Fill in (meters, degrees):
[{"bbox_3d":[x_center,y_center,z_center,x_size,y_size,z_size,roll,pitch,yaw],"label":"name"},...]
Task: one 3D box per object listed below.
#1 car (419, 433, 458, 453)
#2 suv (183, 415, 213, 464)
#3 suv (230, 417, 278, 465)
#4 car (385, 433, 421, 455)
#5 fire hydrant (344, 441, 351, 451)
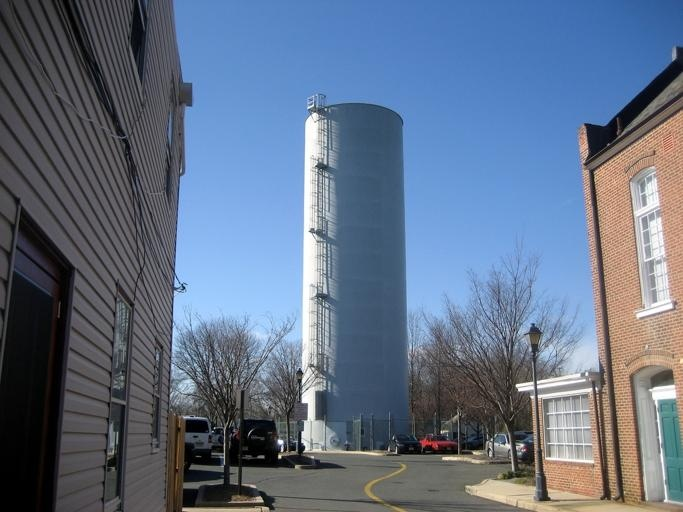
[{"bbox_3d":[6.473,12.822,40.745,1.202,0.991,2.709,4,-22,-15],"label":"car"},{"bbox_3d":[-6.212,7.866,25.896,1.064,1.625,2.399,1,-21,-10],"label":"suv"},{"bbox_3d":[-3.896,8.694,26.932,1.913,2.087,3.729,2,-13,-10],"label":"suv"},{"bbox_3d":[4.100,12.129,38.351,1.981,1.331,2.174,4,-22,-18],"label":"car"},{"bbox_3d":[0.420,13.481,42.069,0.389,1.040,0.324,1,-51,-2],"label":"fire hydrant"}]
